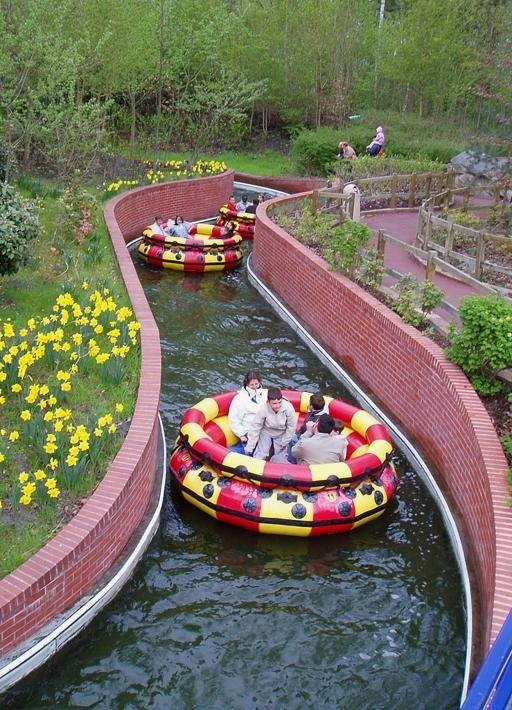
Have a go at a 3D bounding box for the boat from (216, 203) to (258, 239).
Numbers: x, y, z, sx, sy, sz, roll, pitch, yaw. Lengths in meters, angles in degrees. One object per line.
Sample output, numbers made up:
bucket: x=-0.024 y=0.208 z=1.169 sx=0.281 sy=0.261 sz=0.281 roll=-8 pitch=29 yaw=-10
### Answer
boat: x=-0.704 y=-4.604 z=19.147 sx=1.425 sy=0.654 sz=1.525 roll=-3 pitch=15 yaw=-23

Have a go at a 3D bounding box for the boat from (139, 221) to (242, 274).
boat: x=-1.709 y=-2.987 z=15.517 sx=2.246 sy=1.106 sz=2.389 roll=16 pitch=25 yaw=34

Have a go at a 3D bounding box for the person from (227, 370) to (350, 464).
person: x=0.103 y=0.743 z=6.491 sx=0.836 sy=0.590 sz=1.182 roll=-8 pitch=30 yaw=-14
